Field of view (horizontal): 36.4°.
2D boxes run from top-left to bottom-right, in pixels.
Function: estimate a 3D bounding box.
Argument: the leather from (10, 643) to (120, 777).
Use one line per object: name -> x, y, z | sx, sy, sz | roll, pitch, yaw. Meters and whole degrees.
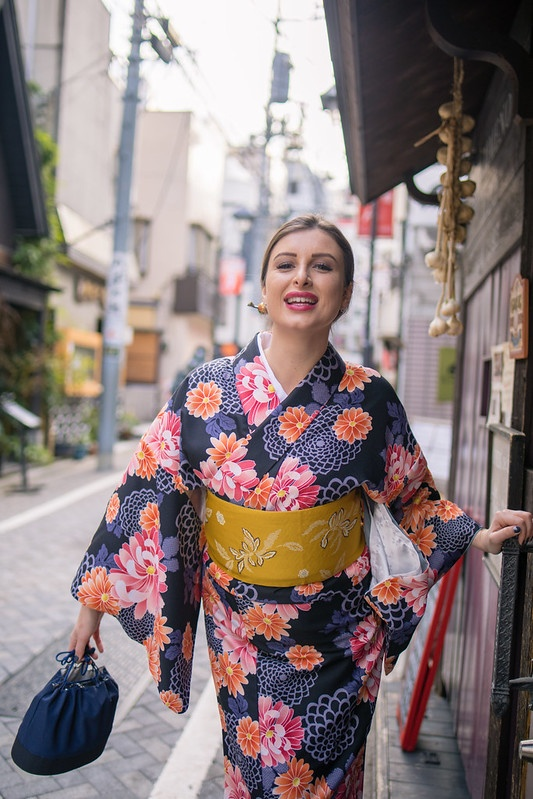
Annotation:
leather -> -0.589, 0.914, 2.380 | 0.212, 0.325, 0.253 | 5, 2, 26
